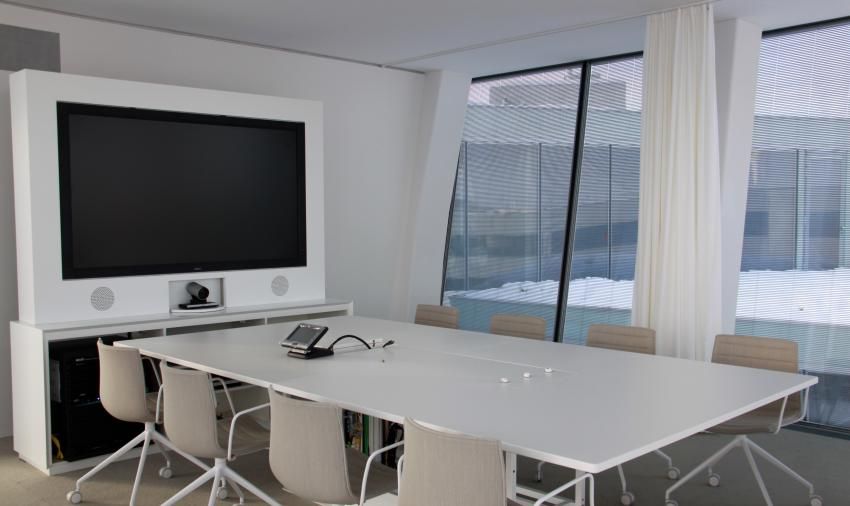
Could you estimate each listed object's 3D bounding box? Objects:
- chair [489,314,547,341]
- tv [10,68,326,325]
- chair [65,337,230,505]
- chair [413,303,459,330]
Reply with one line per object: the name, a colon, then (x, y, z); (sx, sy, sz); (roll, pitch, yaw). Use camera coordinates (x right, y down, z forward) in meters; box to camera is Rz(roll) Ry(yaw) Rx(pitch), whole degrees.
chair: (0.992, 0.758, 5.961); (0.349, 0.391, 0.368); (1, -1, 26)
tv: (-2.899, -0.571, 6.249); (3.497, 2.231, 0.492); (-1, 0, -38)
chair: (-2.549, 1.378, 5.844); (1.366, 1.626, 1.579); (4, 5, 45)
chair: (0.124, 0.707, 6.498); (0.321, 0.364, 0.337); (1, -1, 26)
